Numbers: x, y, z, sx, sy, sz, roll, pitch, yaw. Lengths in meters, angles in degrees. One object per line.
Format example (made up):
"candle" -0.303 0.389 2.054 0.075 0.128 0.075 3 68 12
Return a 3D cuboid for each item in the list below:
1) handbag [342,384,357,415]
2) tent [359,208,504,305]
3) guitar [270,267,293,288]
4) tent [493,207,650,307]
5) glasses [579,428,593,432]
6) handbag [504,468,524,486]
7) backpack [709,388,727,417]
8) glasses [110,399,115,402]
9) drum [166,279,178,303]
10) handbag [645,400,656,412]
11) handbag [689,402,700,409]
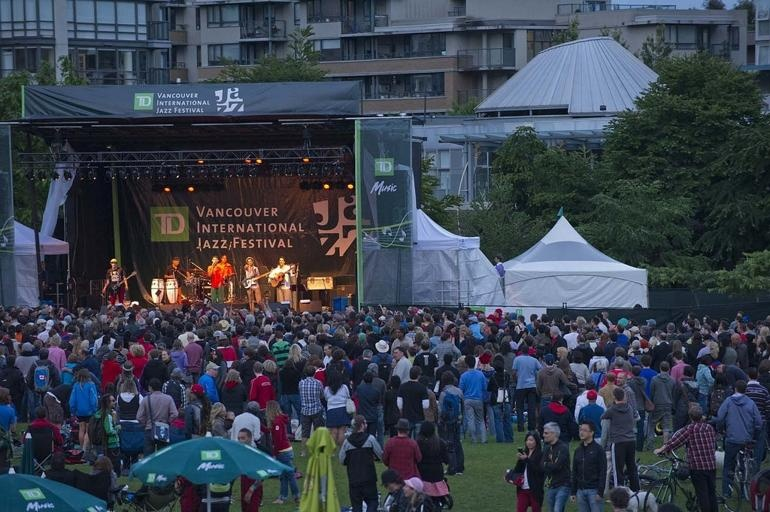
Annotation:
"handbag" -1.226 4.547 57.514 0.356 1.136 0.891 -6 -4 -6
"tent" 1.790 0.629 72.810 4.876 3.819 5.563 -6 3 -25
"guitar" -4.563 0.724 74.862 0.917 0.879 0.523 -2 2 -6
"tent" 7.731 -0.199 71.710 10.523 4.208 3.347 0 -3 10
"glasses" 6.287 5.196 54.319 0.395 0.125 0.105 -2 2 -8
"handbag" 4.033 6.676 54.634 0.494 0.196 0.487 15 -25 5
"backpack" 10.960 4.563 57.243 0.543 0.876 0.241 7 -4 44
"glasses" -8.954 4.525 56.914 0.101 0.098 0.076 -18 0 15
"drum" -9.216 1.308 74.957 0.575 1.044 0.405 -2 2 -8
"handbag" 8.782 4.761 57.776 0.333 0.347 0.174 -9 -15 -33
"handbag" 10.111 4.653 56.910 0.362 0.239 0.363 -1 0 27
